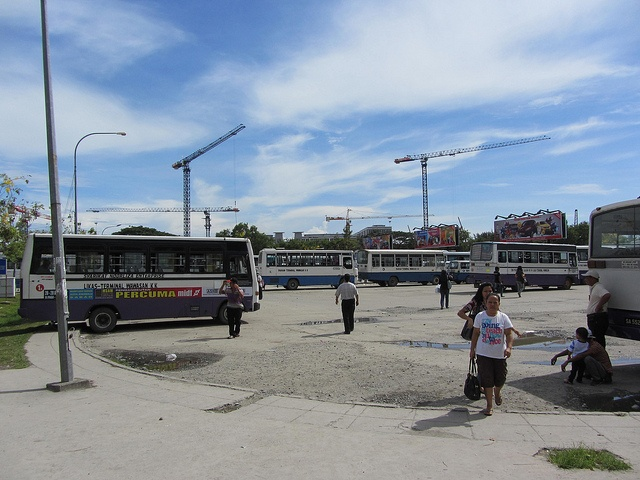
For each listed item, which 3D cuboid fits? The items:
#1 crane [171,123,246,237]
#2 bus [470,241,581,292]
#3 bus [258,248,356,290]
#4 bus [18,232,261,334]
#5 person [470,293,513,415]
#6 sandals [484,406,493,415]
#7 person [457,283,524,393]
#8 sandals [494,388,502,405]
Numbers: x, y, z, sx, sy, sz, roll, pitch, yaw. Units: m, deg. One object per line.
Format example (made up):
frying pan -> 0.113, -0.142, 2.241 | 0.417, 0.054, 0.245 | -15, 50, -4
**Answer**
crane -> -21.191, -10.505, 97.136 | 20.846, 18.927, 2.453 | -9, -11, 35
bus -> 14.511, 1.825, 35.935 | 8.756, 2.987, 2.511 | 1, -3, -27
bus -> -1.328, 2.181, 40.896 | 8.408, 3.051, 3.028 | -1, -1, -11
bus -> -6.147, 1.413, 17.444 | 7.243, 3.295, 0.737 | -1, 3, -21
person -> 2.948, 1.934, 8.781 | 0.873, 1.948, 0.904 | -1, -2, 28
sandals -> 2.796, 2.811, 8.529 | 0.161, 0.120, 0.240 | 1, 2, 21
person -> 3.145, 1.775, 9.302 | 0.960, 2.247, 1.127 | 0, -1, 5
sandals -> 3.068, 2.675, 8.849 | 0.131, 0.062, 0.420 | -8, 37, 16
